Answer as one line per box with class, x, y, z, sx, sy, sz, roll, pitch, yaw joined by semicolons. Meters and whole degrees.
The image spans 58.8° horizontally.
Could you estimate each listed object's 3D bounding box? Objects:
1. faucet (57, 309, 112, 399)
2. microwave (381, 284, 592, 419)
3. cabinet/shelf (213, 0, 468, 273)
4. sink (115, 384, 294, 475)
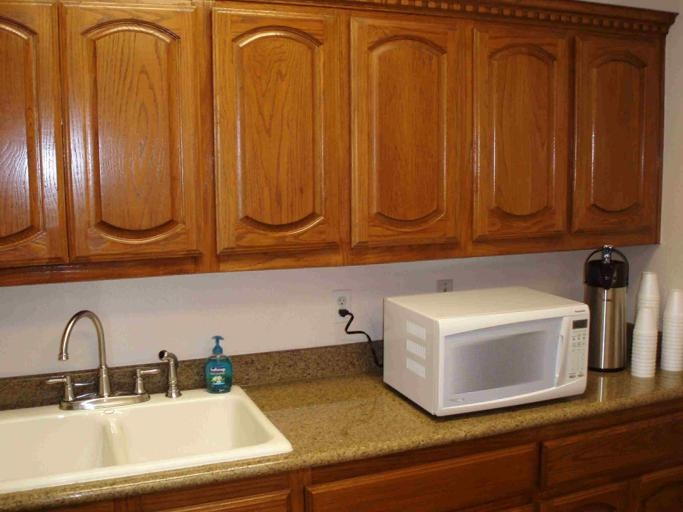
faucet;-0.964;0.365;2.274;0.167;0.357;0.255;-5;16;-23
microwave;0.497;0.214;2.320;0.645;0.341;0.464;-4;7;-21
cabinet/shelf;-0.033;-0.474;2.238;1.045;0.949;0.365;-1;2;-17
sink;-0.511;0.685;2.172;0.513;0.218;0.559;-6;16;-24
